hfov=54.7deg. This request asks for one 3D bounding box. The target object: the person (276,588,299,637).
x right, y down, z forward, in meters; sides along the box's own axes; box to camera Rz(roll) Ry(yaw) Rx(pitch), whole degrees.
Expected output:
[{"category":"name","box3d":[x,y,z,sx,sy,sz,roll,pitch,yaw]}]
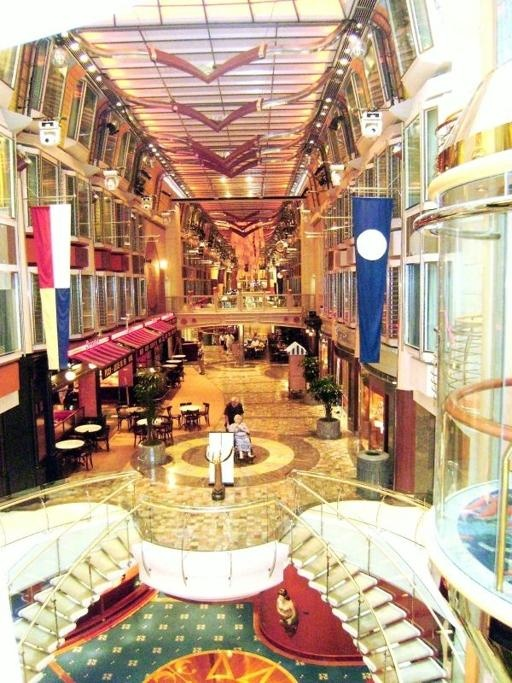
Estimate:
[{"category":"person","box3d":[0.642,5.509,10.121,0.431,0.945,0.645,0,8,0]}]

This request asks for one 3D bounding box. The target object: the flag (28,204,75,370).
[{"category":"flag","box3d":[-4.210,-1.098,10.326,0.747,3.420,0.454,-2,8,-14]}]

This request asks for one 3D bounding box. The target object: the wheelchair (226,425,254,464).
[{"category":"wheelchair","box3d":[-0.411,3.061,14.695,0.865,1.298,0.635,12,-27,-43]}]

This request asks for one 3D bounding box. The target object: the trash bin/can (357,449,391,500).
[{"category":"trash bin/can","box3d":[2.605,2.973,10.979,0.820,0.950,0.819,-3,7,-39]}]

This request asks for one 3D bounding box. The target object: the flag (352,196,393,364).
[{"category":"flag","box3d":[2.190,-1.156,9.691,0.724,3.216,0.355,2,8,14]}]
